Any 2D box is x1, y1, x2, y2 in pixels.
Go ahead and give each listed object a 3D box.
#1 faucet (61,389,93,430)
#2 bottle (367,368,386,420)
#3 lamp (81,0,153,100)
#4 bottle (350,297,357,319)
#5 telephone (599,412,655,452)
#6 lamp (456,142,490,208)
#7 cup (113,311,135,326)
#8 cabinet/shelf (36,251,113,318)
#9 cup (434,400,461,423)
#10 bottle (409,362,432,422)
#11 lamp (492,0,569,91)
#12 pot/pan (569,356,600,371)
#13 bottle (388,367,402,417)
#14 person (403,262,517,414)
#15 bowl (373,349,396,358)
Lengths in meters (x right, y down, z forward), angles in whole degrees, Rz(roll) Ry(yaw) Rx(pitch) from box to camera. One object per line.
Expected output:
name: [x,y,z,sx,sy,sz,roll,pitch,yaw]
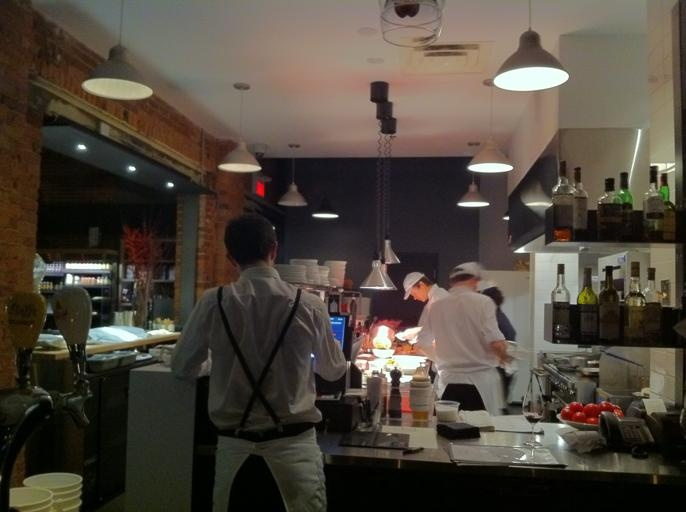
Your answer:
faucet: [-0.993,0.568,2.279,0.090,0.130,0.086,1,-4,-25]
bottle: [0.215,0.901,3.962,0.083,0.233,0.201,-2,12,9]
lamp: [-1.709,-1.536,4.576,0.454,0.747,0.713,1,-4,-29]
bottle: [0.137,0.698,8.241,0.038,0.174,0.174,5,41,13]
telephone: [1.564,0.958,3.361,0.248,0.195,0.095,-1,-4,-6]
lamp: [1.630,-0.859,7.782,0.427,0.459,0.457,0,-8,6]
cup: [-2.354,0.671,6.618,0.146,0.267,0.269,0,-5,-4]
cabinet/shelf: [-2.798,0.253,6.557,0.917,0.873,0.304,0,-7,0]
cup: [0.632,0.938,3.732,0.125,0.081,0.116,0,-5,0]
bottle: [0.504,0.881,3.970,0.152,0.295,0.372,-1,-3,7]
lamp: [1.291,-1.396,4.229,0.467,0.491,0.444,3,-8,-8]
pot/pan: [2.465,1.081,6.261,0.203,0.075,0.150,1,-5,18]
bottle: [0.335,0.873,3.975,0.086,0.297,0.212,-1,-4,4]
person: [1.038,0.704,5.135,0.801,1.264,0.636,-3,-4,31]
bowl: [0.375,0.926,5.881,0.190,0.098,0.268,-1,-3,3]
